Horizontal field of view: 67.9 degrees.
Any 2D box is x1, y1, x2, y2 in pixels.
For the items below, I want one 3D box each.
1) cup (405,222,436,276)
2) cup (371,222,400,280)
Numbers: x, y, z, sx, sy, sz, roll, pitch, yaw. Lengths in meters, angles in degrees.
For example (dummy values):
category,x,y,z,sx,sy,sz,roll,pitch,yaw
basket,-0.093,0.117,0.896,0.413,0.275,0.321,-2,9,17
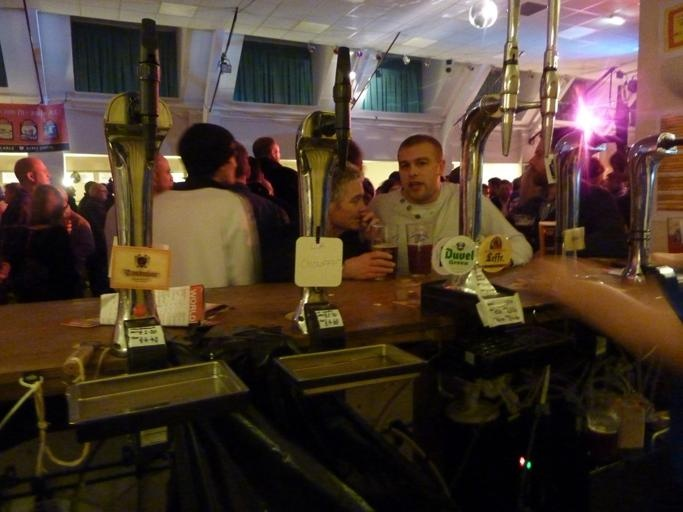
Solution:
category,x,y,z,sx,sy,sz,roll,pitch,yaw
cup,0.249,-0.019,1.630,0.094,0.169,0.067,3,11,25
cup,0.147,-0.018,1.706,0.086,0.168,0.118,-2,10,2
